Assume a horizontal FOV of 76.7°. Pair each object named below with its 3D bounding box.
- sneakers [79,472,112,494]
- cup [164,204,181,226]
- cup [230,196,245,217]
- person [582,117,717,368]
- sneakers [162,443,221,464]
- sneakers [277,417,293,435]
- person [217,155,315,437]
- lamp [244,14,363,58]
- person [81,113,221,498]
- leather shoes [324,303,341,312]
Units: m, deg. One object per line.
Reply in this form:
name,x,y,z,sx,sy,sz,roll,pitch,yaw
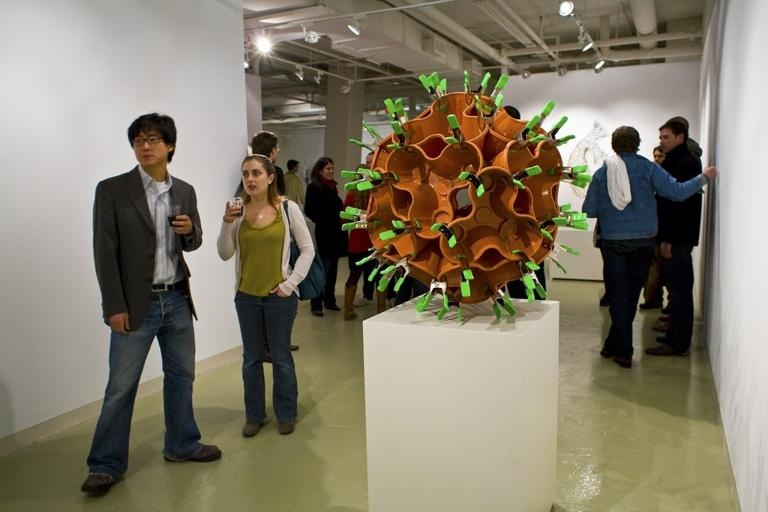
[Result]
sneakers,-1.600,1.408,2.706,0.159,0.108,0.067,4,-12,-40
cup,-1.170,-0.296,2.702,0.058,0.117,0.228,-6,13,-22
cup,-0.866,-0.364,2.856,0.061,0.118,0.099,-2,11,-4
person,2.105,-0.135,4.128,0.786,2.279,0.427,6,13,34
sneakers,-1.202,1.346,3.049,0.339,0.140,0.138,-2,-6,-2
sneakers,-0.655,1.265,3.265,0.066,0.120,0.120,-1,-28,3
person,-0.742,0.253,3.247,0.635,2.072,0.480,-6,12,-21
lamp,-1.243,-4.132,7.700,1.839,0.446,1.339,2,38,-3
person,-1.420,0.240,2.810,0.775,2.352,0.418,-7,12,-27
leather shoes,-0.658,0.677,6.226,0.222,0.098,0.078,-2,-3,32
